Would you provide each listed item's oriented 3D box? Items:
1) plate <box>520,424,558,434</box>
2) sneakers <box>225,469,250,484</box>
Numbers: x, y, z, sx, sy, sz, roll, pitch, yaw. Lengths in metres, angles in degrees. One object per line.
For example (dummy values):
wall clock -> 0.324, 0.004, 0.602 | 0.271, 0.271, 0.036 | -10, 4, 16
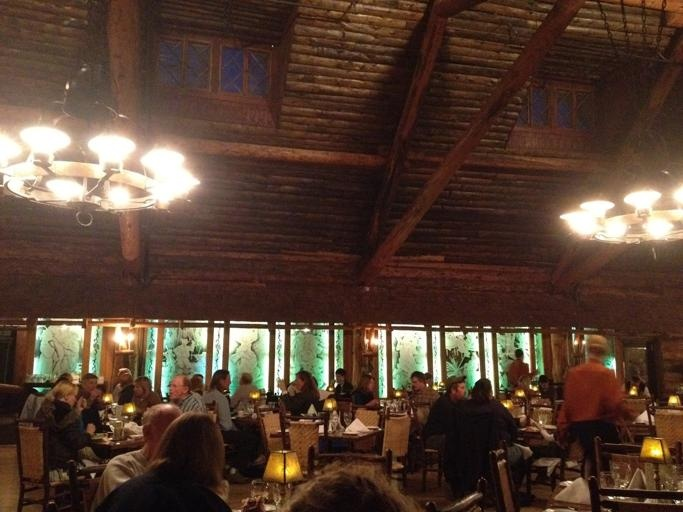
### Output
plate -> 2.700, 2.349, 8.226 | 0.450, 0.101, 0.423 | -5, -13, 25
sneakers -> -1.500, 3.223, 8.844 | 0.423, 0.180, 0.136 | 12, -14, 12
